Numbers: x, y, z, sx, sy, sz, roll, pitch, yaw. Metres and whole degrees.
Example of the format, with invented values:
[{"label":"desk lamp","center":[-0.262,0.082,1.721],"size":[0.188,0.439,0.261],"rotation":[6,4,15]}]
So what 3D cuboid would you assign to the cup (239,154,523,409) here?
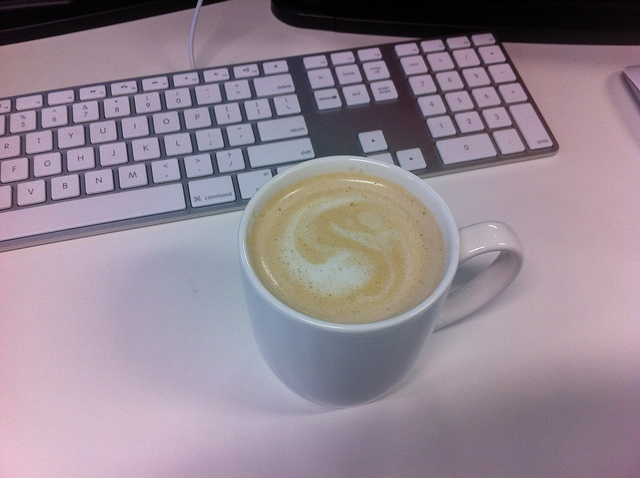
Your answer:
[{"label":"cup","center":[0.053,0.052,0.466],"size":[0.226,0.162,0.183],"rotation":[1,44,6]}]
